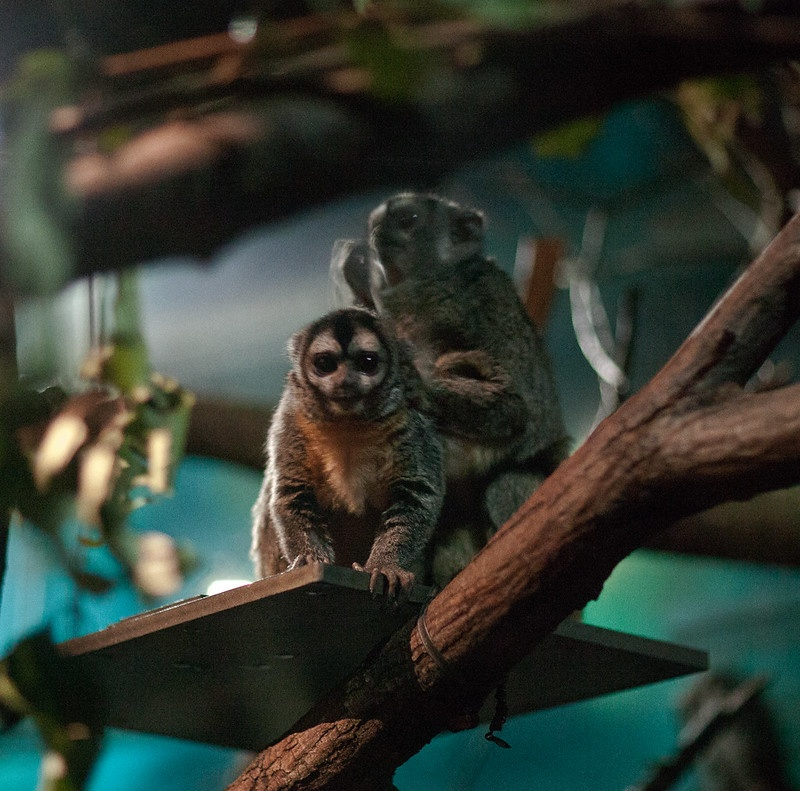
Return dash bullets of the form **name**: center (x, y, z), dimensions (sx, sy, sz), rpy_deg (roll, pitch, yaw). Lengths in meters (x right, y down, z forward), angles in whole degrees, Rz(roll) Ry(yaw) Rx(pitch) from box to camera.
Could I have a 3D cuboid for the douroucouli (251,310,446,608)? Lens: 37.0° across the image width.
- **douroucouli**: center (-0.073, 0.137, 2.137), dimensions (0.318, 0.511, 0.338), rpy_deg (3, 36, 2)
